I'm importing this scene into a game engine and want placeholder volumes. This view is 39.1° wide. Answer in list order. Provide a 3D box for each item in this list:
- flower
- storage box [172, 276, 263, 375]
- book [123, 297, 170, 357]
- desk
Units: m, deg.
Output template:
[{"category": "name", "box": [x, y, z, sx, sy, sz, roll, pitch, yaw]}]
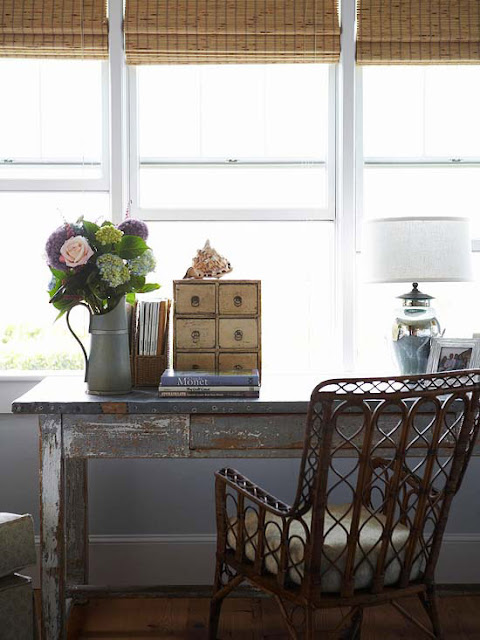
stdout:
[{"category": "flower", "box": [-0.421, -0.149, 2.041, 0.323, 0.332, 0.336, -9, 41, -21]}, {"category": "storage box", "box": [-0.078, -0.024, 2.312, 0.298, 0.173, 0.343, -4, 21, -1]}, {"category": "book", "box": [-0.275, 0.027, 2.171, 0.153, 0.275, 0.206, -1, -4, -1]}, {"category": "desk", "box": [-0.107, 0.701, 2.083, 1.369, 0.959, 0.777, 0, -1, -5]}]
